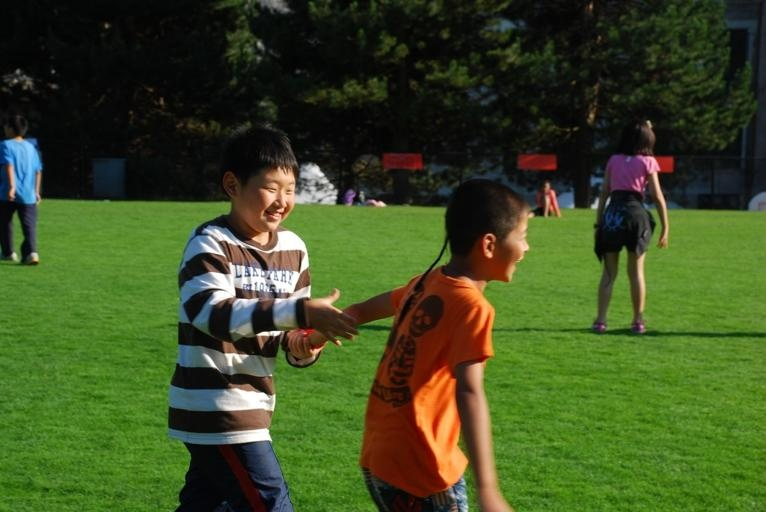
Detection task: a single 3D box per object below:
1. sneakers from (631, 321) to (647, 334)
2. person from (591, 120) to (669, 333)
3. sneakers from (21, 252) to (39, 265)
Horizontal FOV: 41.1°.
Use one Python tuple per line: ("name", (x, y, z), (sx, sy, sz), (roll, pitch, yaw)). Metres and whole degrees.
("sneakers", (3.707, 1.036, 14.599), (0.138, 0.121, 0.216), (0, -6, 6))
("person", (3.559, -0.405, 14.529), (0.974, 3.042, 0.527), (2, 3, 9))
("sneakers", (-5.845, 0.053, 17.116), (0.218, 0.226, 0.333), (3, 2, 21))
